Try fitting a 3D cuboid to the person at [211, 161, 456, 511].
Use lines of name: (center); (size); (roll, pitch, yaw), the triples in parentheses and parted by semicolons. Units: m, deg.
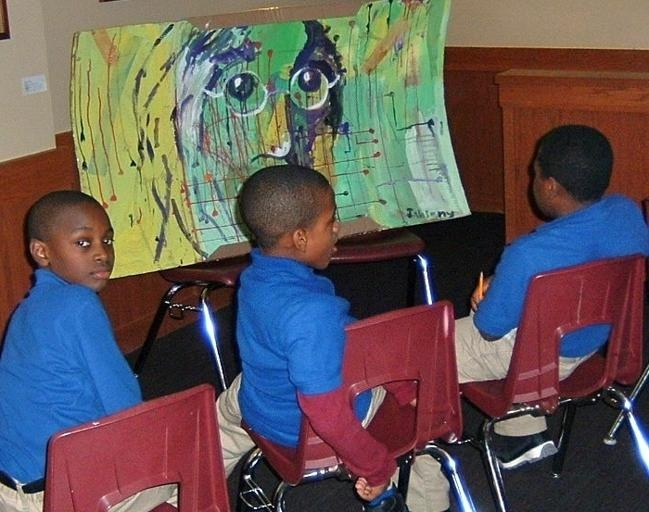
person: (-0.042, 0.287, 1.418); (0.553, 1.012, 0.409); (-6, 10, 8)
